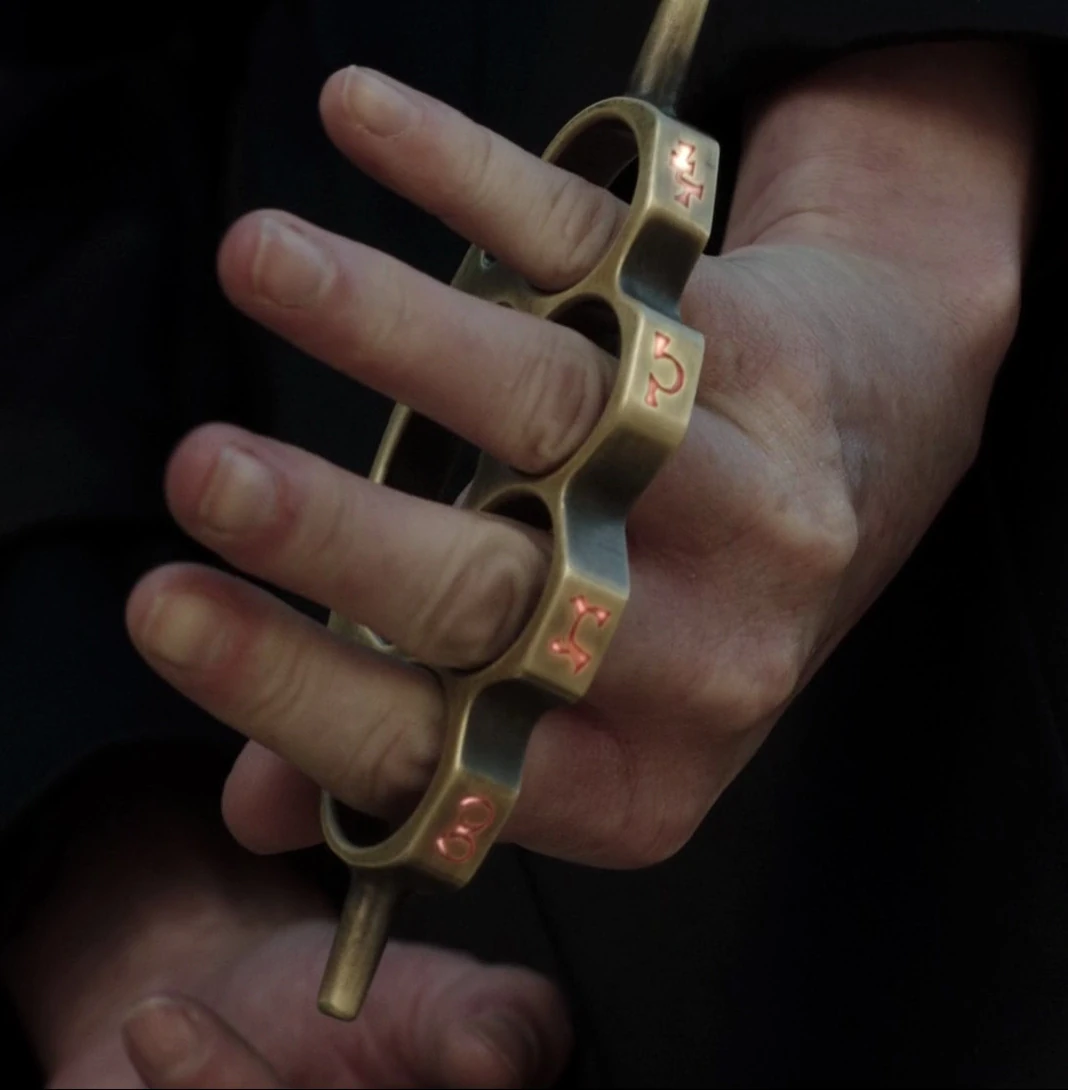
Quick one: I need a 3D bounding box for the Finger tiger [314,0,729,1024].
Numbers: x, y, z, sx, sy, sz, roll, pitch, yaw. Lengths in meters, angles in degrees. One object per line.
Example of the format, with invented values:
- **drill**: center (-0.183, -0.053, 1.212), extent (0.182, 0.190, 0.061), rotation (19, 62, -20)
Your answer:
- **Finger tiger**: center (0.032, -0.005, 0.740), extent (0.150, 0.077, 0.656), rotation (15, 92, 34)
